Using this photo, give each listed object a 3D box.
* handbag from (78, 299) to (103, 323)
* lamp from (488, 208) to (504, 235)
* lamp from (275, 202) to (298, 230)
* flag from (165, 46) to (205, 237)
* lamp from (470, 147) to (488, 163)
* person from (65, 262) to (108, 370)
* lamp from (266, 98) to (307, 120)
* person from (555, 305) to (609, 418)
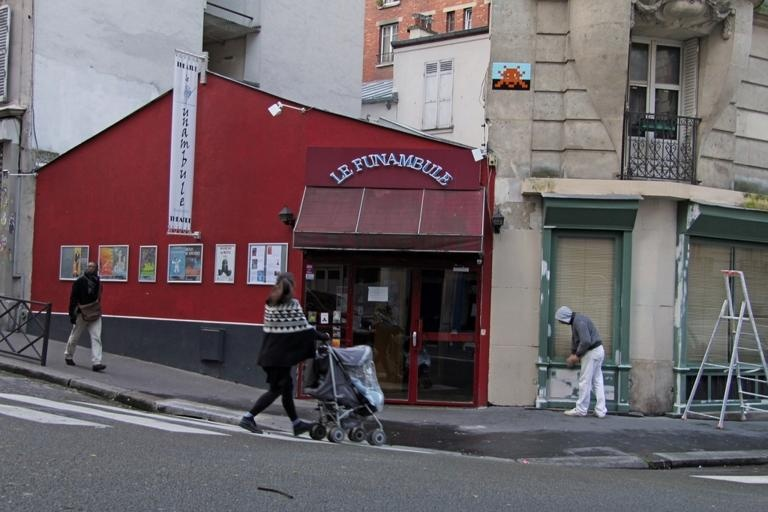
[{"bbox_3d":[-6.812,1.266,23.646,0.435,0.470,0.462,-14,-7,-23],"label":"handbag"},{"bbox_3d":[2.552,-0.787,22.979,0.302,0.524,0.362,2,-5,7],"label":"lamp"},{"bbox_3d":[-2.281,-0.906,23.714,0.454,0.525,0.437,2,-5,7],"label":"lamp"},{"bbox_3d":[-4.820,-2.864,25.113,0.306,4.769,1.128,-2,-6,38],"label":"flag"},{"bbox_3d":[2.070,-2.263,22.959,0.340,0.322,0.078,-1,-2,-26],"label":"lamp"},{"bbox_3d":[-6.905,1.385,24.022,1.397,2.219,0.756,0,-1,8],"label":"person"},{"bbox_3d":[-2.365,-3.448,24.079,0.740,0.407,0.248,9,-15,31],"label":"lamp"},{"bbox_3d":[4.338,2.308,22.577,1.122,2.394,0.816,-3,-9,12],"label":"person"}]
